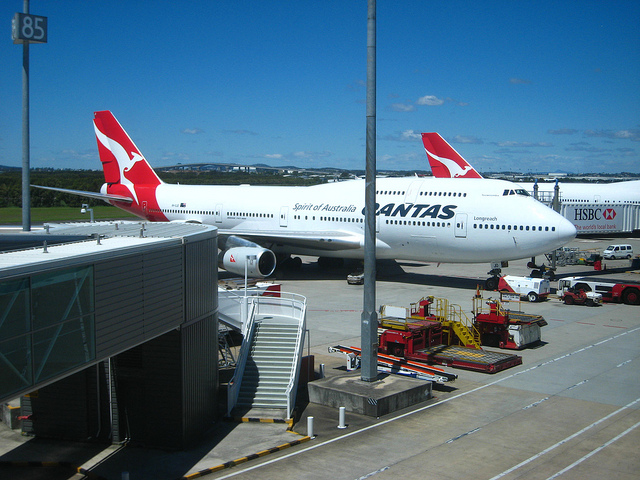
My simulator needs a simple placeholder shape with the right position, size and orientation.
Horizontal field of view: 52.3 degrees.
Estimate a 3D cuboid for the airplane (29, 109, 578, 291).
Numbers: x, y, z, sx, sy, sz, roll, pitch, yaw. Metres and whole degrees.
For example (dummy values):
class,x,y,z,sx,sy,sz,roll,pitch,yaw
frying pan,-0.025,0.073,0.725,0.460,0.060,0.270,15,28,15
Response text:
class,x,y,z,sx,sy,sz,roll,pitch,yaw
airplane,0.968,-2.032,48.803,28.802,6.244,23.792,4,7,34
